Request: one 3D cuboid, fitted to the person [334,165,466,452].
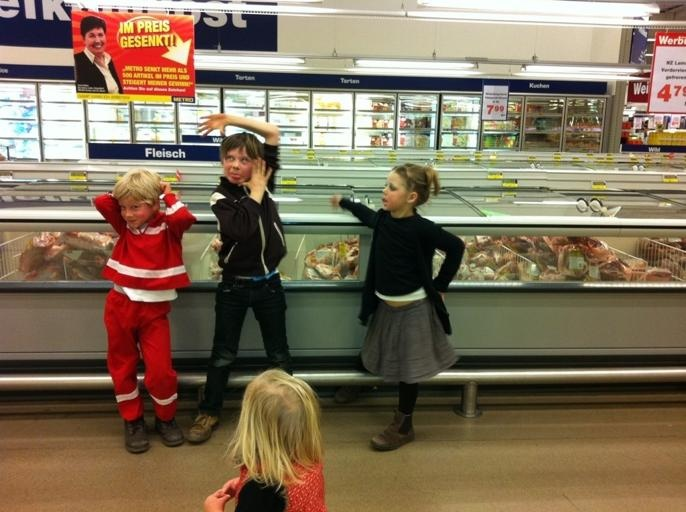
[{"bbox_3d":[0.379,0.093,3.525,0.707,1.309,0.460,3,16,17],"label":"person"}]

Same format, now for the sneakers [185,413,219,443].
[{"bbox_3d":[-0.899,1.083,3.620,0.112,0.110,0.298,3,2,12],"label":"sneakers"}]

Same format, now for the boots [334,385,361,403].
[{"bbox_3d":[0.031,0.963,4.004,0.183,0.070,0.089,-1,8,-42],"label":"boots"}]

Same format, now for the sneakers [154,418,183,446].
[{"bbox_3d":[-1.142,1.099,3.601,0.099,0.107,0.260,-3,7,-43],"label":"sneakers"}]

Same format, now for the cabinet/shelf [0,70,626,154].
[{"bbox_3d":[0.806,-2.764,10.940,9.288,1.619,0.500,-3,15,-8],"label":"cabinet/shelf"}]

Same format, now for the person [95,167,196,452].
[{"bbox_3d":[-1.228,0.325,3.491,0.526,1.697,0.539,11,20,39],"label":"person"}]

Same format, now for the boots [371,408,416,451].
[{"bbox_3d":[0.323,1.094,3.586,0.323,0.194,0.142,-3,7,-35],"label":"boots"}]

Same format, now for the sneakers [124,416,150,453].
[{"bbox_3d":[-1.281,1.106,3.512,0.102,0.109,0.270,-1,7,-23],"label":"sneakers"}]
